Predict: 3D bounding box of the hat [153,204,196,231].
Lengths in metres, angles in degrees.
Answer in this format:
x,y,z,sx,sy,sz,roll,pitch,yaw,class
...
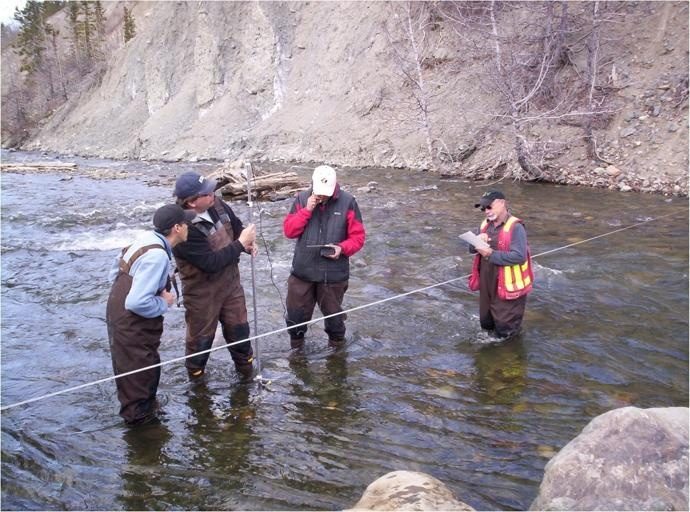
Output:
x,y,z,sx,sy,sz,roll,pitch,yaw,class
-2.027,-0.503,6.728,0.491,0.234,0.285,-27,39,-24,hat

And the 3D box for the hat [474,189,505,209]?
x,y,z,sx,sy,sz,roll,pitch,yaw,class
2.246,-0.829,8.343,0.611,0.246,0.344,-3,-3,-25,hat

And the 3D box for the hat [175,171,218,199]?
x,y,z,sx,sy,sz,roll,pitch,yaw,class
-1.881,-0.901,7.054,0.540,0.227,0.291,-17,38,-9,hat

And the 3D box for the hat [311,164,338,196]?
x,y,z,sx,sy,sz,roll,pitch,yaw,class
-0.273,-1.009,7.714,0.306,0.421,0.323,4,14,15,hat

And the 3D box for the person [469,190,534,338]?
x,y,z,sx,sy,sz,roll,pitch,yaw,class
2.233,0.129,8.297,0.669,2.181,0.833,-7,16,-27,person
